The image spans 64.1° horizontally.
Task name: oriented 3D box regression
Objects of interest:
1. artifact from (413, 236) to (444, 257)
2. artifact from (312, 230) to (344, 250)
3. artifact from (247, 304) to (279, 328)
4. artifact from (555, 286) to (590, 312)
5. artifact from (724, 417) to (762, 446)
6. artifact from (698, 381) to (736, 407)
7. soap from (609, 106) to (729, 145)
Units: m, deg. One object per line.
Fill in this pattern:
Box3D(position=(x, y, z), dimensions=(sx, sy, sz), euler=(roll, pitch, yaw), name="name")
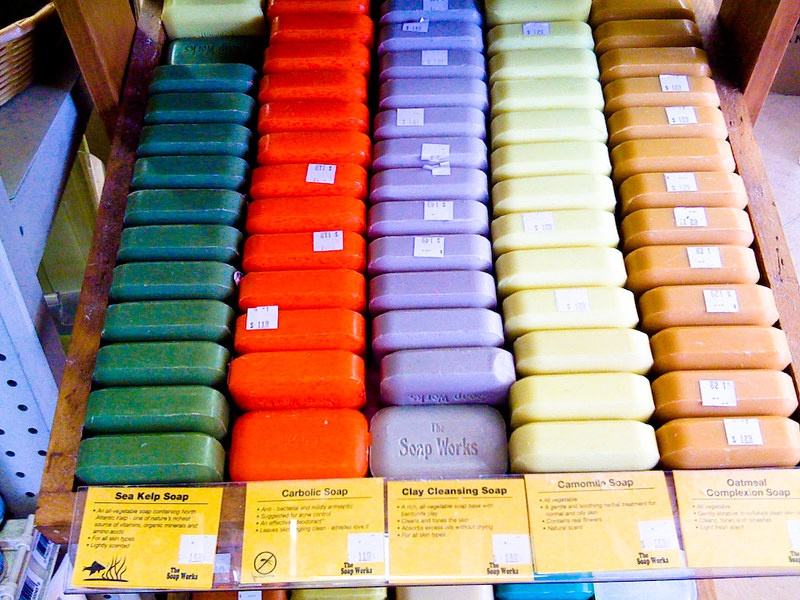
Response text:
Box3D(position=(0.081, -0.144, 1.812), dimensions=(0.093, 0.020, 0.054), euler=(2, 80, 1), name="artifact")
Box3D(position=(-0.207, -0.165, 1.816), dimensions=(0.093, 0.019, 0.052), euler=(-2, 80, 0), name="artifact")
Box3D(position=(-0.372, 0.051, 1.733), dimensions=(0.088, 0.031, 0.066), euler=(-5, 39, -1), name="artifact")
Box3D(position=(0.465, -0.001, 1.731), dimensions=(0.097, 0.020, 0.056), euler=(2, 73, 3), name="artifact")
Box3D(position=(0.849, 0.322, 1.560), dimensions=(0.081, 0.017, 0.063), euler=(2, 70, 2), name="artifact")
Box3D(position=(0.807, 0.238, 1.627), dimensions=(0.089, 0.042, 0.059), euler=(1, 40, 6), name="artifact")
Box3D(position=(0.800, -0.537, 1.945), dimensions=(0.403, 0.097, 0.113), euler=(-1, 55, 2), name="soap")
